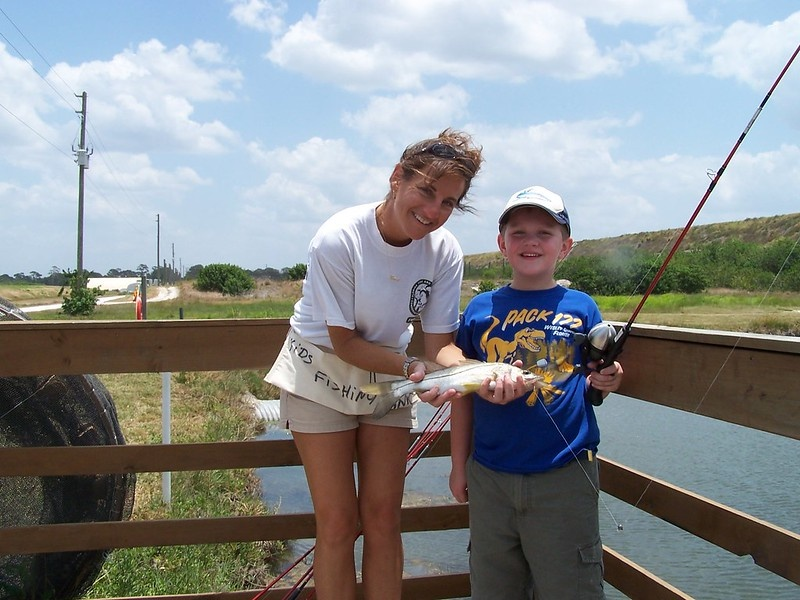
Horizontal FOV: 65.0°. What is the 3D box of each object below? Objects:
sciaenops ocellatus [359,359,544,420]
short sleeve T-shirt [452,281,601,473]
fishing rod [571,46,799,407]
[{"bbox_3d":[0.209,0.355,2.549,0.484,0.095,0.163,-11,35,11],"label":"sciaenops ocellatus"},{"bbox_3d":[0.535,0.328,2.572,0.621,0.802,0.391,0,-19,3],"label":"short sleeve T-shirt"},{"bbox_3d":[1.023,-0.246,2.187,0.180,1.361,0.225,25,6,-38],"label":"fishing rod"}]
